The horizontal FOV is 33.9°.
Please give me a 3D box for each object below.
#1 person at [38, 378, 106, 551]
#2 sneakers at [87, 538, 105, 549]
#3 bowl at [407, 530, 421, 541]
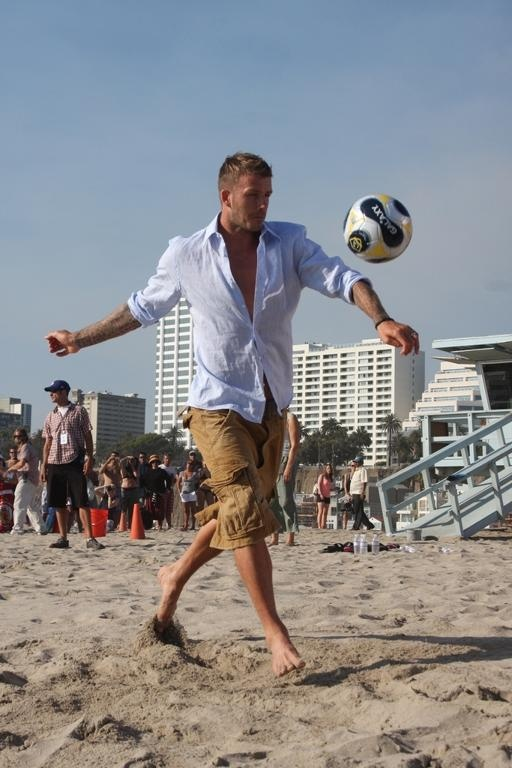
[{"bbox_3d":[-1.978,0.838,8.915,0.694,1.759,0.418,-6,-11,16],"label":"person"},{"bbox_3d":[-1.757,1.738,9.178,0.088,0.095,0.253,0,-5,-36],"label":"sneakers"},{"bbox_3d":[2.164,2.048,11.438,0.144,0.097,0.137,0,-4,0],"label":"bowl"}]
